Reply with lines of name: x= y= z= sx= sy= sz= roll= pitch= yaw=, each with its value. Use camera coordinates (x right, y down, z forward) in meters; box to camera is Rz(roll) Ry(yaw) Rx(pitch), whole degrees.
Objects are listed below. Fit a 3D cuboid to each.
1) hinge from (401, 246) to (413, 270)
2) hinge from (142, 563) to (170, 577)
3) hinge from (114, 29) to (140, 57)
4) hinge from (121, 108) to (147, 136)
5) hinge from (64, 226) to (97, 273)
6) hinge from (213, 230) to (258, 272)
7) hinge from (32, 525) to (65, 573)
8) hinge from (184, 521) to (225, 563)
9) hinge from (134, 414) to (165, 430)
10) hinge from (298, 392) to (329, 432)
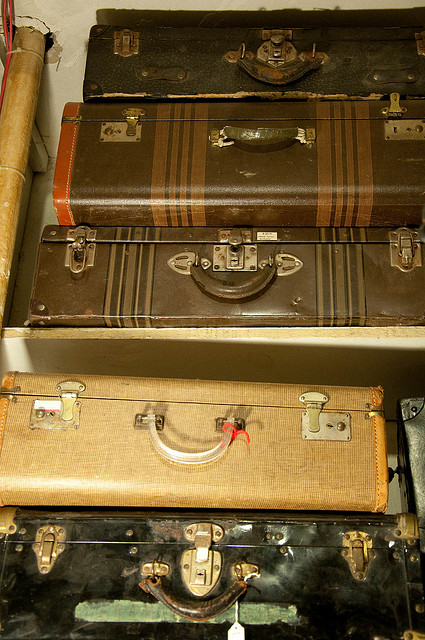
hinge: x=0.583 y=-0.186 z=1.577 sx=0.035 sy=0.017 sz=0.061 roll=2 pitch=76 yaw=1
hinge: x=-0.130 y=0.582 z=1.231 sx=0.046 sy=0.012 sz=0.033 roll=3 pitch=80 yaw=-10
hinge: x=-0.298 y=-0.961 z=1.830 sx=0.098 sy=0.024 sz=0.144 roll=-1 pitch=61 yaw=-2
hinge: x=-0.258 y=-0.646 z=1.723 sx=0.107 sy=0.013 sz=0.133 roll=1 pitch=56 yaw=-2
hinge: x=-0.408 y=-0.217 z=1.639 sx=0.080 sy=0.059 sz=0.147 roll=3 pitch=69 yaw=-4
hinge: x=0.068 y=-0.197 z=1.616 sx=0.121 sy=0.069 sz=0.135 roll=1 pitch=83 yaw=2
hinge: x=-0.391 y=0.545 z=1.250 sx=0.070 sy=0.014 sz=0.114 roll=5 pitch=44 yaw=-9
hinge: x=-0.020 y=0.526 z=1.250 sx=0.081 sy=0.022 sz=0.082 roll=-1 pitch=63 yaw=-1
hinge: x=-0.165 y=0.263 z=1.367 sx=0.059 sy=0.022 sz=0.042 roll=1 pitch=80 yaw=2
hinge: x=0.265 y=0.246 z=1.388 sx=0.092 sy=0.021 sz=0.155 roll=1 pitch=53 yaw=5
